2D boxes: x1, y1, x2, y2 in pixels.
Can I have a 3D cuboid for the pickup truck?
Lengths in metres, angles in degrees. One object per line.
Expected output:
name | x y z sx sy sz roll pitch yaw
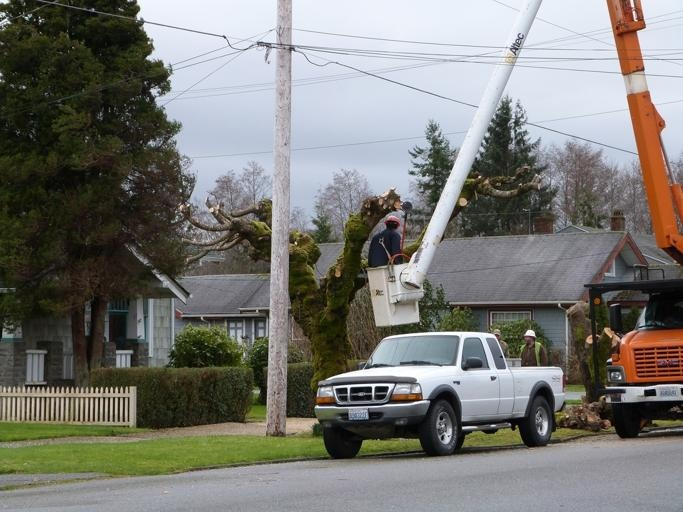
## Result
pickup truck | 2.341 2.853 20.706 6.182 2.484 2.236 6 -10 -40

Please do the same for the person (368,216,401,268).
person | 0.961 -0.348 21.700 0.721 1.239 0.890 -1 -8 3
